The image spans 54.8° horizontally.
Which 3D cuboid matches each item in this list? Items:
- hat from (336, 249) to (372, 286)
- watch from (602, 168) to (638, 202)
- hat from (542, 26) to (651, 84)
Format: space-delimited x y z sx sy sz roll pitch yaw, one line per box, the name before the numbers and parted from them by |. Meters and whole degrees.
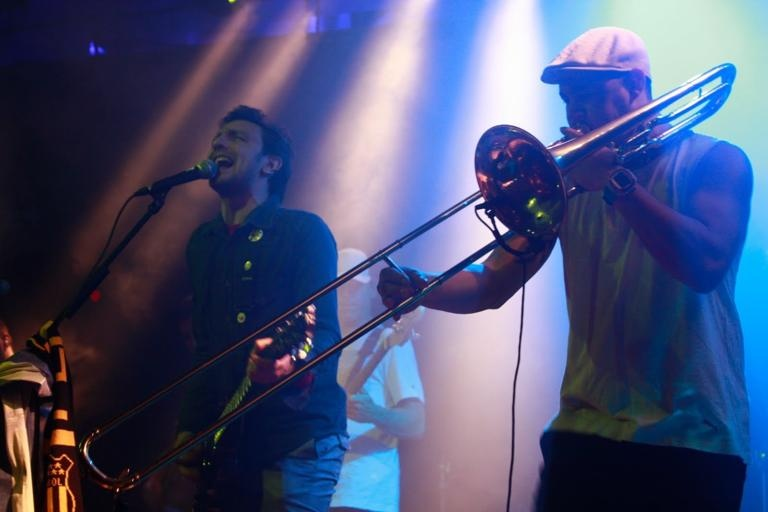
hat | -0.182 0.062 4.445 0.147 0.187 0.202 21 -10 -28
watch | 1.072 -0.324 3.386 0.075 0.115 0.106 47 -25 -9
hat | 1.040 -0.984 3.750 0.418 0.315 0.399 -3 8 -28
